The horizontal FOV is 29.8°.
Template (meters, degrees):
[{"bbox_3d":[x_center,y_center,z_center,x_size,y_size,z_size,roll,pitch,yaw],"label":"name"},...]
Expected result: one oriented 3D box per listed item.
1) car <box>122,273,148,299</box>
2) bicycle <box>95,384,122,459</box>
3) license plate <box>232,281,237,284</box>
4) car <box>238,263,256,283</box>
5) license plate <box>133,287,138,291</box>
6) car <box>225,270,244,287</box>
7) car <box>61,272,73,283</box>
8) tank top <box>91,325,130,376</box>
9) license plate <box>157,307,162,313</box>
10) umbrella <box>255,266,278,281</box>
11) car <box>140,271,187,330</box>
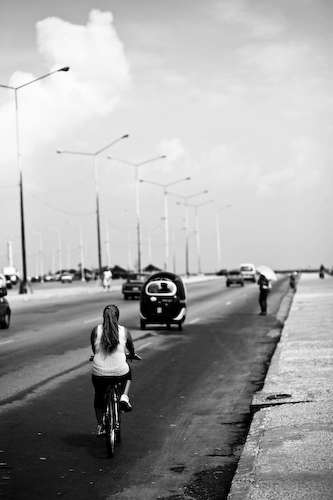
[{"bbox_3d":[-1.828,2.067,36.062,1.887,1.413,3.242,-1,2,-1],"label":"car"},{"bbox_3d":[-0.566,1.686,6.260,0.279,0.714,0.781,-6,-1,-6],"label":"bicycle"},{"bbox_3d":[6.633,3.125,60.631,0.498,0.257,0.342,3,0,-4],"label":"license plate"},{"bbox_3d":[8.492,2.402,66.325,2.305,2.217,4.138,1,3,9],"label":"car"},{"bbox_3d":[-2.003,2.435,39.623,0.337,0.222,0.064,-6,0,11],"label":"license plate"},{"bbox_3d":[6.664,2.668,60.938,1.514,1.352,2.530,-1,-8,5],"label":"car"},{"bbox_3d":[-16.403,4.127,102.403,2.054,1.524,2.011,0,-7,-4],"label":"car"},{"bbox_3d":[-0.591,1.010,6.316,0.369,0.501,0.251,-6,0,-5],"label":"tank top"},{"bbox_3d":[-0.216,1.864,19.460,0.176,0.167,0.126,0,-4,1],"label":"license plate"},{"bbox_3d":[3.828,0.887,24.077,0.588,0.554,1.174,-6,-1,9],"label":"umbrella"},{"bbox_3d":[-0.052,1.531,20.609,1.168,1.362,2.428,0,0,4],"label":"car"}]
